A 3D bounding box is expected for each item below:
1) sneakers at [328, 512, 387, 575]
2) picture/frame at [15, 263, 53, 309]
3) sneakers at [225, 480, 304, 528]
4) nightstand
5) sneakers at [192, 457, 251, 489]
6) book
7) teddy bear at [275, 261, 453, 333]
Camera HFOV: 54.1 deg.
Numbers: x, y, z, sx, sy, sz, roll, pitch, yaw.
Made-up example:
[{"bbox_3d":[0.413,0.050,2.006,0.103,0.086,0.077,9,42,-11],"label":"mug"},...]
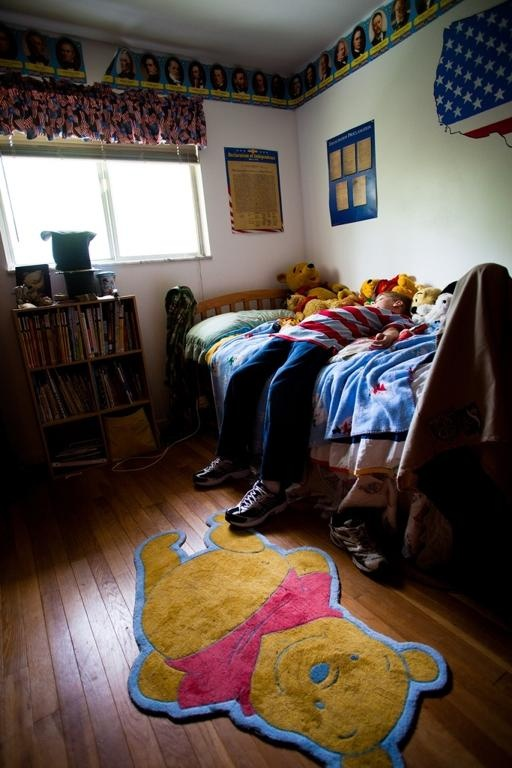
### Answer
[{"bbox_3d":[0.305,0.481,1.544,0.089,0.106,0.240,-13,23,-23],"label":"sneakers"},{"bbox_3d":[-1.093,-0.477,2.449,0.185,0.193,0.197,-9,13,-11],"label":"picture/frame"},{"bbox_3d":[0.041,0.452,1.865,0.191,0.096,0.066,-28,28,-16],"label":"sneakers"},{"bbox_3d":[-0.899,0.042,2.582,0.305,1.111,0.696,11,19,44],"label":"nightstand"},{"bbox_3d":[-0.159,0.381,2.254,0.296,0.153,0.107,-7,14,-27],"label":"sneakers"},{"bbox_3d":[-0.900,0.017,2.587,0.652,1.045,0.285,-18,22,-40],"label":"book"},{"bbox_3d":[0.529,-0.535,2.927,0.735,0.318,0.471,8,19,30],"label":"teddy bear"}]
